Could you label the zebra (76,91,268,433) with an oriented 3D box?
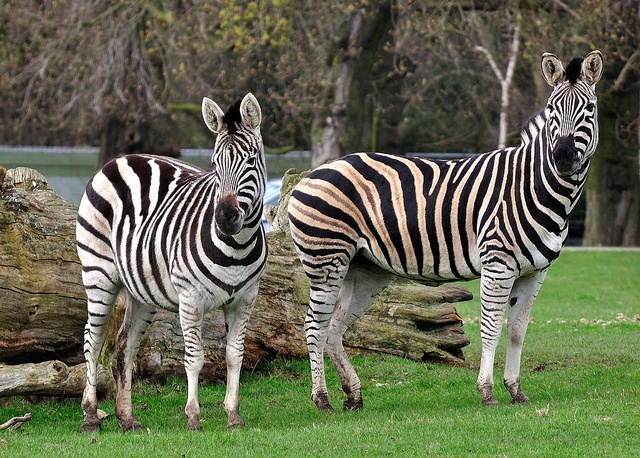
[{"bbox_3d":[-2.338,0.541,19.699,3.032,5.358,1.143,1,9,13],"label":"zebra"}]
